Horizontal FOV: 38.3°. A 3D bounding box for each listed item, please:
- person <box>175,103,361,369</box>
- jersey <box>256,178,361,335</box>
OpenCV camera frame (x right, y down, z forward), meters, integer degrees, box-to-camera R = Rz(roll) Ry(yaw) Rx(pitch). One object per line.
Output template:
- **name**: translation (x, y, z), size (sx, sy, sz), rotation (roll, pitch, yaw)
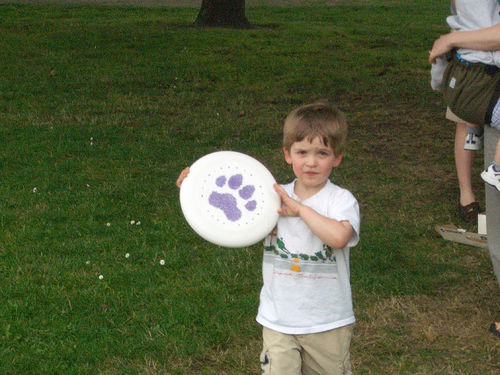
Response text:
- **person**: translation (0.451, 0.420, 5.569), size (0.751, 1.778, 1.010), rotation (2, 28, 8)
- **jersey**: translation (0.434, 0.524, 5.548), size (0.792, 0.967, 0.682), rotation (-2, 28, 1)
